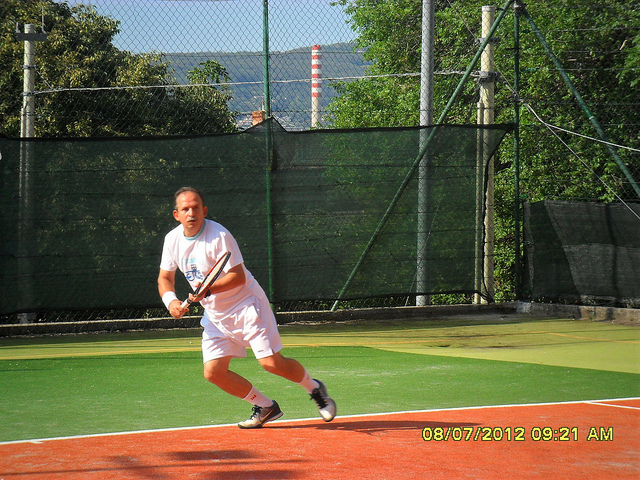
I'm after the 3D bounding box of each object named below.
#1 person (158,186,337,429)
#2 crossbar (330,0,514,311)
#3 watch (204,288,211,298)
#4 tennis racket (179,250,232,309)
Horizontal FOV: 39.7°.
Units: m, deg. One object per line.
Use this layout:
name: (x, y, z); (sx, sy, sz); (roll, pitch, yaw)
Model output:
person: (-0.732, 0.636, 8.112); (1.479, 2.217, 0.584); (-1, 8, -5)
crossbar: (1.835, -1.369, 14.989); (0.161, 8.279, 0.572); (29, -3, 21)
watch: (-0.982, 0.473, 7.811); (0.027, 0.083, 0.014); (6, 35, -28)
tennis racket: (-0.968, 0.299, 7.898); (0.349, 0.406, 0.267); (-2, 8, -13)
